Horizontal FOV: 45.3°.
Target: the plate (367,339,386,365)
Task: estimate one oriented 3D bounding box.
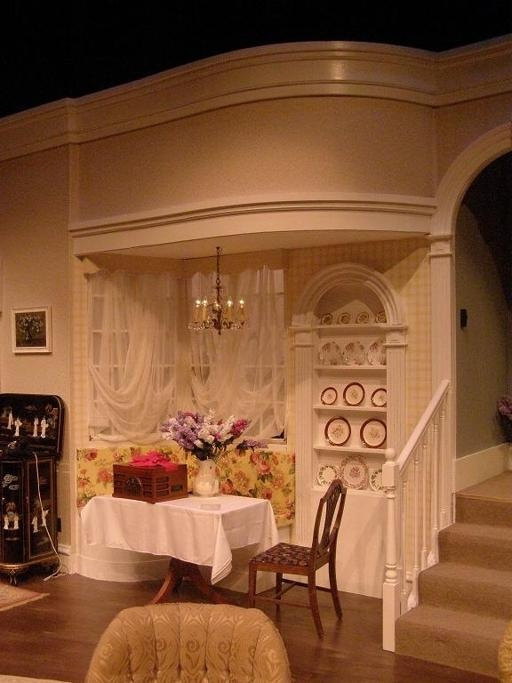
[{"bbox_3d":[0.988,0.088,5.038,0.046,0.208,0.181,2,-5,-37],"label":"plate"}]

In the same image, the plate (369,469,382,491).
[{"bbox_3d":[0.976,1.135,4.998,0.127,0.146,0.035,-27,-30,35],"label":"plate"}]

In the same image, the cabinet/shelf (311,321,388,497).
[{"bbox_3d":[0.775,0.596,5.141,0.609,1.407,0.164,3,11,13],"label":"cabinet/shelf"}]

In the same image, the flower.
[{"bbox_3d":[-0.384,0.719,4.637,0.628,0.351,0.447,3,10,27],"label":"flower"}]

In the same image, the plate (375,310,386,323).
[{"bbox_3d":[1.010,-0.198,4.999,0.073,0.110,0.169,-1,-4,3],"label":"plate"}]

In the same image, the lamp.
[{"bbox_3d":[-0.319,-0.436,5.204,0.494,0.727,0.476,-1,-2,12],"label":"lamp"}]

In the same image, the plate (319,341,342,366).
[{"bbox_3d":[0.644,0.105,5.280,0.205,0.238,0.030,-1,-6,42],"label":"plate"}]

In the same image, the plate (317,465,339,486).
[{"bbox_3d":[0.604,1.148,5.255,0.179,0.188,0.037,4,-3,37],"label":"plate"}]

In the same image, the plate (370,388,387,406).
[{"bbox_3d":[1.015,0.459,4.991,0.073,0.161,0.209,0,-4,-19],"label":"plate"}]

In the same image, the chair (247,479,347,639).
[{"bbox_3d":[0.287,1.449,4.322,0.688,1.034,1.258,-2,-4,7],"label":"chair"}]

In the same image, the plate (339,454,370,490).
[{"bbox_3d":[0.825,1.100,5.116,0.231,0.244,0.050,-25,-23,39],"label":"plate"}]

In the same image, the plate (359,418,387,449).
[{"bbox_3d":[0.968,0.749,5.090,0.214,0.220,0.215,-14,-4,27],"label":"plate"}]

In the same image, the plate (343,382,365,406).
[{"bbox_3d":[0.826,0.444,5.158,0.175,0.183,0.041,-29,-25,36],"label":"plate"}]

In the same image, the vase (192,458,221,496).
[{"bbox_3d":[-0.358,1.032,4.775,0.243,0.374,0.257,-1,1,-1],"label":"vase"}]
